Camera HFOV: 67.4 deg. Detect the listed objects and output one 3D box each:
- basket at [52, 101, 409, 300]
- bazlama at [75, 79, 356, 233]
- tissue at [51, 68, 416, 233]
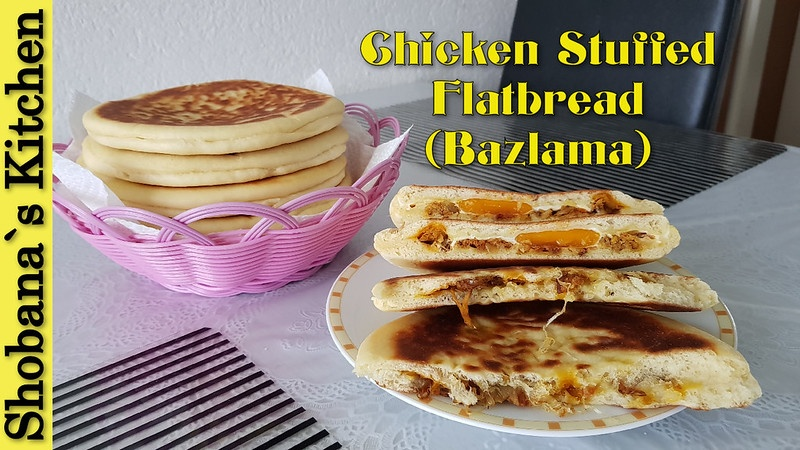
[{"bbox_3d":[-0.363,-0.018,1.509,0.656,0.188,0.623,10,21,33],"label":"basket"},{"bbox_3d":[-0.486,-0.140,1.611,0.596,0.170,0.480,3,28,2],"label":"bazlama"},{"bbox_3d":[-0.467,-0.194,1.577,0.610,0.192,0.636,-15,26,-34],"label":"tissue"}]
